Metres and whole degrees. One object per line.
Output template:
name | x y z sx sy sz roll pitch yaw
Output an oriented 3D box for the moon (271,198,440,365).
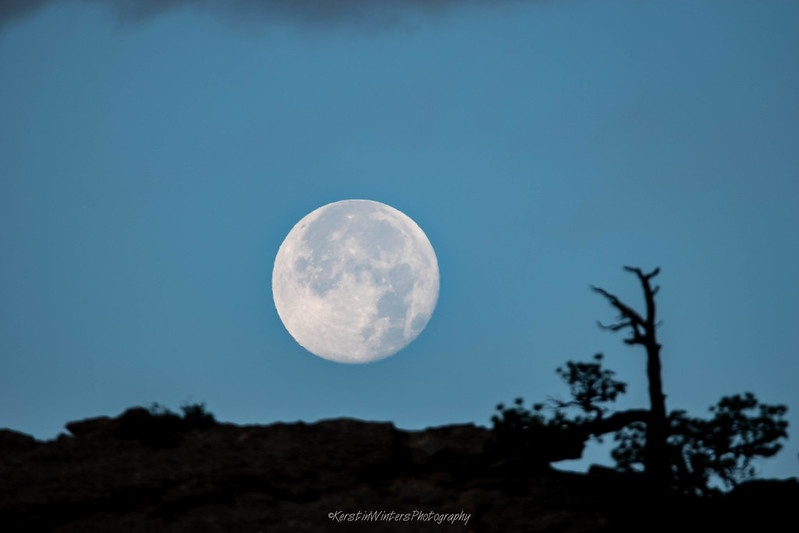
moon | -0.727 0.273 25.042 2.789 2.878 1.558 0 -1 0
